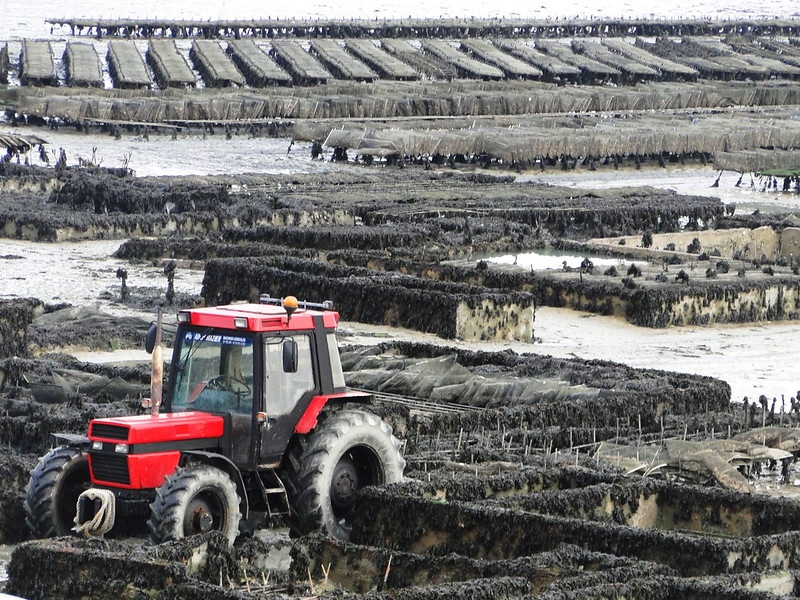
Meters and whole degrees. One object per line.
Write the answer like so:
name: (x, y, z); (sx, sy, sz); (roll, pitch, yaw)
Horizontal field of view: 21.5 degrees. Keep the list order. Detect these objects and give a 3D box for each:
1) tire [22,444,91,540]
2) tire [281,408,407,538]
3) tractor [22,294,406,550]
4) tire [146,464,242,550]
tire: (-10.020, 5.799, 61.634); (0.739, 2.607, 2.281); (4, 10, 39)
tire: (-1.841, 5.267, 62.296); (2.619, 3.095, 0.913); (-17, 15, -29)
tractor: (-5.561, 3.726, 62.837); (9.099, 7.705, 6.296); (-1, 5, -38)
tire: (-5.964, 6.436, 61.708); (1.022, 3.477, 3.010); (13, 22, 38)
